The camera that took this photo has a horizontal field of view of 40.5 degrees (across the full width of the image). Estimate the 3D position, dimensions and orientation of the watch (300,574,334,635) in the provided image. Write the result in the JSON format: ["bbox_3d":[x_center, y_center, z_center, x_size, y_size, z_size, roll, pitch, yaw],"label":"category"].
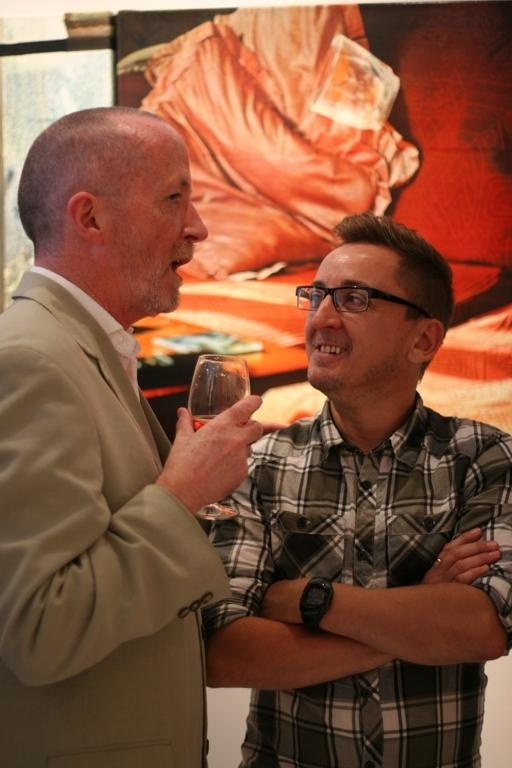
[{"bbox_3d":[0.117,0.414,1.317,0.063,0.096,0.093,1,-36,25],"label":"watch"}]

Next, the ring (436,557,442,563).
[{"bbox_3d":[0.375,0.363,1.428,0.012,0.011,0.012,2,-12,0],"label":"ring"}]
